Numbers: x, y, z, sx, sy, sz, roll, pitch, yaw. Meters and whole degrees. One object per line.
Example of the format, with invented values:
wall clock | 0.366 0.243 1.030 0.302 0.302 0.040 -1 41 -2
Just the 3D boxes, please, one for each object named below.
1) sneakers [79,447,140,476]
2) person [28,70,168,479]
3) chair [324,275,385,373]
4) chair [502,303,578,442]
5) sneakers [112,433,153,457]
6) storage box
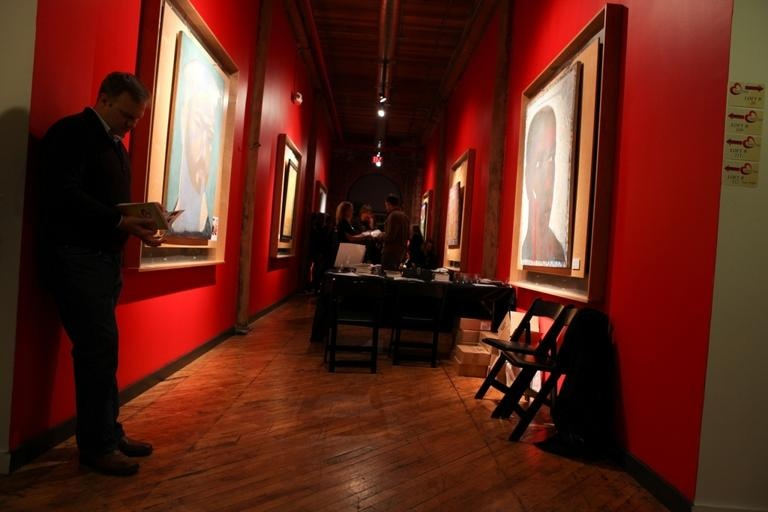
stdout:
sneakers | -1.842 1.380 3.540 0.409 0.183 0.157 5 1 -5
person | -1.841 0.101 3.521 0.697 2.616 0.510 7 9 22
chair | -0.301 0.730 5.894 0.539 1.001 0.609 6 -3 -7
chair | 1.338 0.986 4.644 0.551 1.214 0.985 6 9 14
sneakers | -1.780 1.340 3.705 0.288 0.131 0.105 2 6 2
storage box | 1.222 1.111 5.976 0.688 1.022 1.016 4 -1 2
